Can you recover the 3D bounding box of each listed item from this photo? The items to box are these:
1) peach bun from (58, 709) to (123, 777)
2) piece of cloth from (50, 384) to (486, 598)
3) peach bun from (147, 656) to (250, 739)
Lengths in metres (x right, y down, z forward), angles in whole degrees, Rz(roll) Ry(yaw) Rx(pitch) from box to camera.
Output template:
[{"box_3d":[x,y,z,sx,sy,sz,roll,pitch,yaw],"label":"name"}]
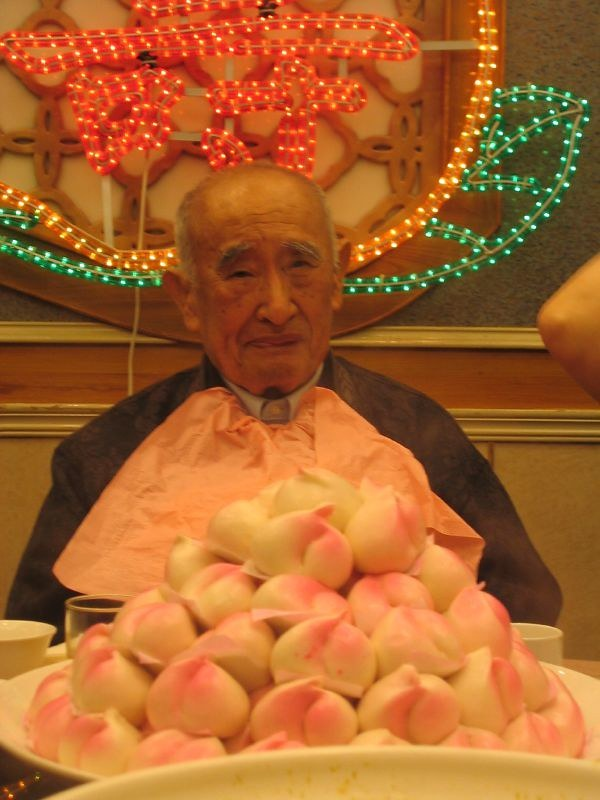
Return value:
[{"box_3d":[-0.068,0.113,0.266,0.022,0.018,0.021,-17,-18,37],"label":"peach bun"},{"box_3d":[-0.071,0.069,0.687,0.267,0.075,0.230,-1,16,3],"label":"piece of cloth"},{"box_3d":[-0.036,0.099,0.265,0.034,0.026,0.016,-5,5,5],"label":"peach bun"}]
